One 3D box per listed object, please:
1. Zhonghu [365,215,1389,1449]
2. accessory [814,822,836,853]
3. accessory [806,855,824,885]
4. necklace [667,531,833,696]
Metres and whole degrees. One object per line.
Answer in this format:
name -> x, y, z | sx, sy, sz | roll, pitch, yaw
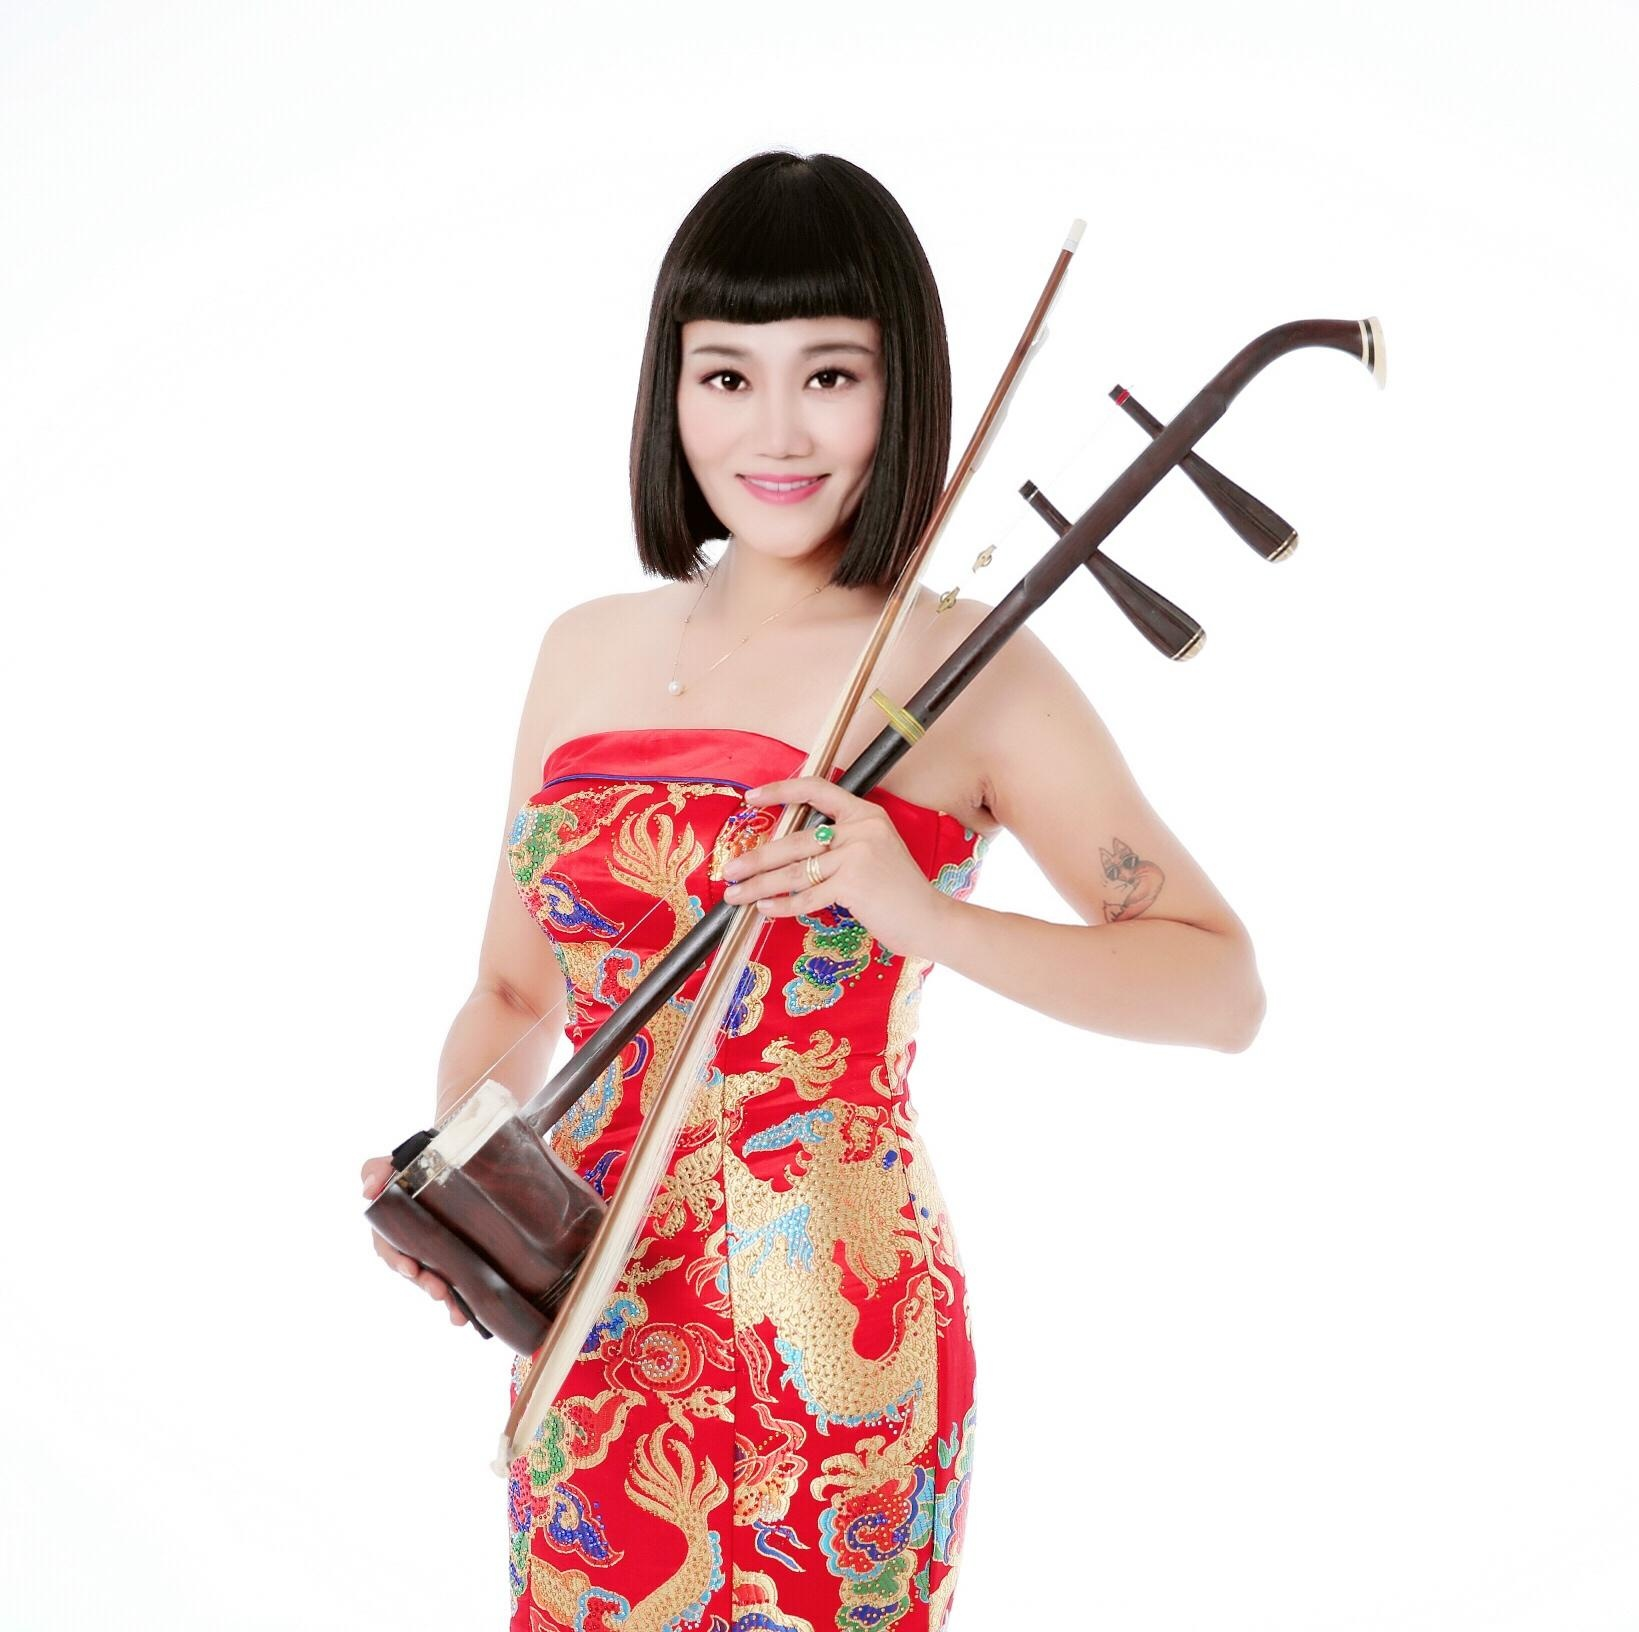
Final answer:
Zhonghu -> -0.007, 0.039, 1.493 | 0.330, 0.916, 0.647 | 27, -34, -7
accessory -> 0.001, 0.016, 1.530 | 0.019, 0.018, 0.006 | 0, -26, 5
accessory -> -0.004, 0.040, 1.520 | 0.012, 0.021, 0.023 | -7, 6, 12
necklace -> -0.084, -0.175, 1.902 | 0.169, 0.148, 0.036 | 21, -23, 35
